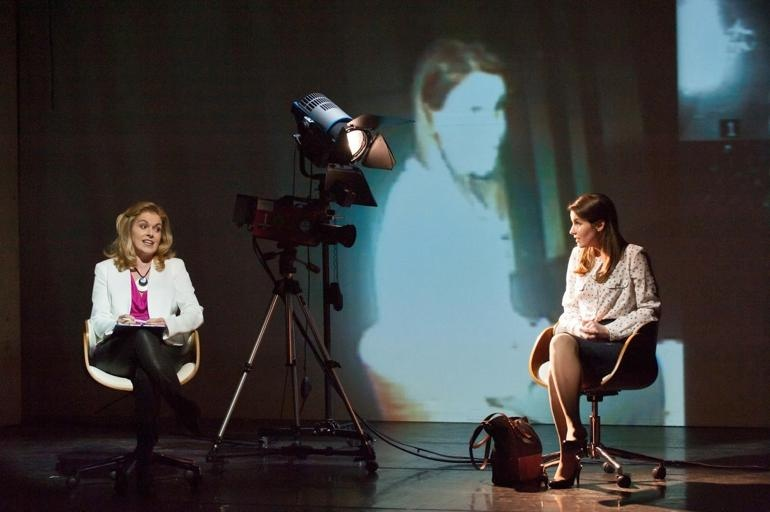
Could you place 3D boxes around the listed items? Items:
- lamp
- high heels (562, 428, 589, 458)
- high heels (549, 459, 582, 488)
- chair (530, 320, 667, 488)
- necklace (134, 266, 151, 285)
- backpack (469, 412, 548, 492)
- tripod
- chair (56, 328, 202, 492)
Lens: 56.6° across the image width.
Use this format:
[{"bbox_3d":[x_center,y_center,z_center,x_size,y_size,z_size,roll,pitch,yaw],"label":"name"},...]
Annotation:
[{"bbox_3d":[-0.369,-0.799,4.669,0.340,0.245,0.524,1,33,-47],"label":"lamp"},{"bbox_3d":[1.105,1.072,4.115,0.080,0.113,0.249,-5,-19,25],"label":"high heels"},{"bbox_3d":[1.062,1.294,4.228,0.255,0.196,0.103,-1,-6,2],"label":"high heels"},{"bbox_3d":[1.324,0.837,4.453,0.693,1.037,0.713,8,-8,-35],"label":"chair"},{"bbox_3d":[-1.506,0.117,4.440,0.104,0.111,0.012,4,-22,-17],"label":"necklace"},{"bbox_3d":[0.739,1.165,4.340,0.371,0.429,0.424,7,-13,-29],"label":"backpack"},{"bbox_3d":[-0.726,0.730,5.096,1.034,1.232,1.681,-1,2,-14],"label":"tripod"},{"bbox_3d":[-1.461,0.825,4.373,0.769,1.082,0.748,0,-11,-20],"label":"chair"}]
